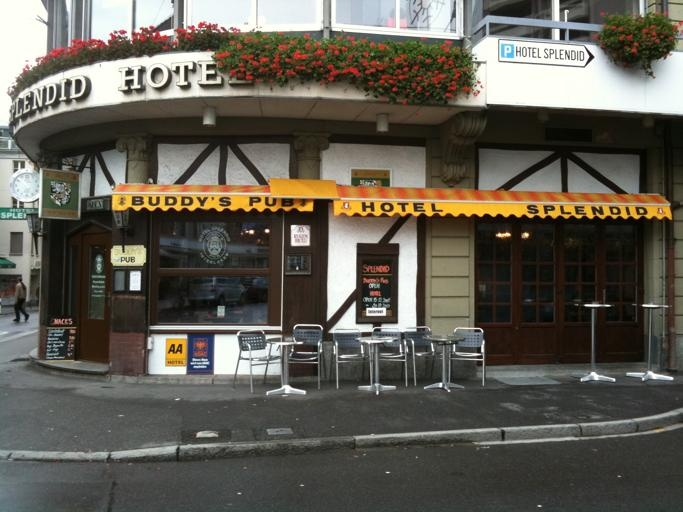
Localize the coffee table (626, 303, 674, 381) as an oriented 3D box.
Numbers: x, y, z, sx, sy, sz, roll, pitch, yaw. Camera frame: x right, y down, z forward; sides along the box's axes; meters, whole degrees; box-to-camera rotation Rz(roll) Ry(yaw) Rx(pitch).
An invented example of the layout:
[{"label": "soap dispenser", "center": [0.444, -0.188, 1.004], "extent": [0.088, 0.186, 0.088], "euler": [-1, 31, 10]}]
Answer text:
[{"label": "coffee table", "center": [6.403, 1.780, 16.477], "extent": [0.869, 1.607, 1.706], "euler": [-2, -6, 22]}]

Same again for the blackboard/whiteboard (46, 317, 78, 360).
[{"label": "blackboard/whiteboard", "center": [-6.121, 1.827, 17.323], "extent": [0.913, 1.267, 0.126], "euler": [0, -3, -11]}]

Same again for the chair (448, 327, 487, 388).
[{"label": "chair", "center": [2.473, 1.980, 15.554], "extent": [0.664, 1.087, 0.665], "euler": [1, -3, 9]}]

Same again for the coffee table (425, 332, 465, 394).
[{"label": "coffee table", "center": [1.981, 2.088, 15.383], "extent": [0.813, 0.934, 0.815], "euler": [-6, -9, 43]}]

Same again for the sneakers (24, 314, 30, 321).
[{"label": "sneakers", "center": [-12.643, 2.524, 31.877], "extent": [0.249, 0.125, 0.373], "euler": [2, -41, -8]}]

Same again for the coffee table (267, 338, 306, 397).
[{"label": "coffee table", "center": [-1.041, 2.134, 15.207], "extent": [0.913, 0.988, 0.912], "euler": [2, -1, 42]}]

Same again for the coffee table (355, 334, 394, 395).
[{"label": "coffee table", "center": [0.647, 2.126, 15.451], "extent": [0.896, 1.029, 0.905], "euler": [0, -6, -4]}]

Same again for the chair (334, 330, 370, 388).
[{"label": "chair", "center": [0.167, 1.975, 15.248], "extent": [0.702, 1.096, 0.766], "euler": [-1, -3, 3]}]

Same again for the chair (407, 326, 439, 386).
[{"label": "chair", "center": [1.618, 2.010, 15.768], "extent": [0.777, 1.058, 0.817], "euler": [-3, -3, 29]}]

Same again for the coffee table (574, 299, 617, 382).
[{"label": "coffee table", "center": [5.078, 1.717, 16.016], "extent": [0.862, 1.609, 0.877], "euler": [2, -8, 10]}]

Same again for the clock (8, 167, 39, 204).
[{"label": "clock", "center": [-6.863, -1.542, 17.241], "extent": [0.728, 0.749, 0.735], "euler": [2, -2, -13]}]

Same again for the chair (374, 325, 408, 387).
[{"label": "chair", "center": [0.937, 2.025, 15.712], "extent": [0.677, 1.092, 0.709], "euler": [-1, -4, -7]}]

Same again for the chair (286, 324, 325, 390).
[{"label": "chair", "center": [-0.702, 1.979, 15.431], "extent": [0.769, 1.110, 0.834], "euler": [-1, 5, -9]}]
